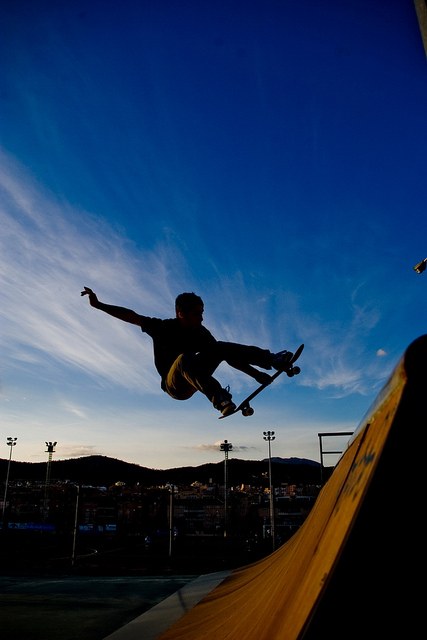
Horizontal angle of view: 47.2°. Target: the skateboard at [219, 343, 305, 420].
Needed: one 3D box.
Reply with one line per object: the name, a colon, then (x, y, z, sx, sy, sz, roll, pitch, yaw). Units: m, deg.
skateboard: (0.423, 0.497, 4.940, 1.286, 0.216, 0.274, -44, -1, -6)
